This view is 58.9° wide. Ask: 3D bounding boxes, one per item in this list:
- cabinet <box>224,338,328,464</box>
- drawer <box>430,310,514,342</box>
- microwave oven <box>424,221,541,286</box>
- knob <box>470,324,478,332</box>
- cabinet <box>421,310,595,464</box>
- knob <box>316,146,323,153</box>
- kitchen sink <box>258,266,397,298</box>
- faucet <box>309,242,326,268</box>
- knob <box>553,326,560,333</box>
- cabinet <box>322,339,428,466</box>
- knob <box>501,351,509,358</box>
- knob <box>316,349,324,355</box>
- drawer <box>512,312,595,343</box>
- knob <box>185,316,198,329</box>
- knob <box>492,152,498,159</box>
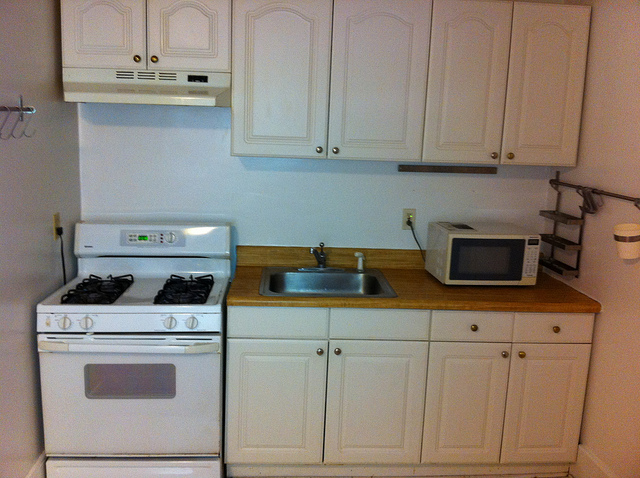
[{"bbox_3d":[-0.242,0.890,3.429,0.733,0.973,0.672,1,1,-2],"label":"cabinet"},{"bbox_3d":[0.831,0.461,3.204,0.473,0.165,0.350,2,9,0],"label":"drawer"},{"bbox_3d":[0.935,0.076,3.369,0.571,0.304,0.395,0,8,-5],"label":"microwave oven"},{"bbox_3d":[0.839,0.484,3.091,0.038,0.045,0.020,-1,9,1],"label":"knob"},{"bbox_3d":[1.025,0.792,3.382,0.966,0.881,0.598,3,11,-4],"label":"cabinet"},{"bbox_3d":[-0.010,-0.508,3.212,0.035,0.029,0.029,10,35,-22],"label":"knob"},{"bbox_3d":[0.001,0.240,3.470,0.791,0.156,0.727,1,9,-7],"label":"kitchen sink"},{"bbox_3d":[-0.022,0.098,3.544,0.102,0.167,0.151,-1,9,-1],"label":"faucet"},{"bbox_3d":[1.298,0.495,3.116,0.036,0.034,0.014,-3,9,-14],"label":"knob"},{"bbox_3d":[0.313,0.905,3.458,0.735,0.963,0.683,1,2,-1],"label":"cabinet"},{"bbox_3d":[1.013,0.634,3.116,0.034,0.026,0.025,29,-23,-29],"label":"knob"},{"bbox_3d":[-0.007,0.611,3.074,0.030,0.033,0.014,-2,9,-5],"label":"knob"},{"bbox_3d":[1.285,0.476,3.281,0.478,0.191,0.341,2,4,-2],"label":"drawer"},{"bbox_3d":[-0.673,0.434,2.944,0.052,0.062,0.015,-3,-4,-13],"label":"knob"},{"bbox_3d":[1.001,-0.480,3.256,0.032,0.030,0.023,0,9,16],"label":"knob"}]
